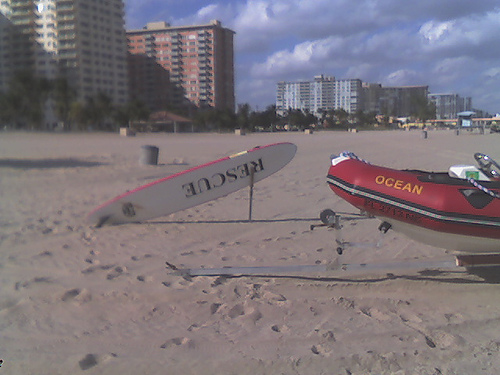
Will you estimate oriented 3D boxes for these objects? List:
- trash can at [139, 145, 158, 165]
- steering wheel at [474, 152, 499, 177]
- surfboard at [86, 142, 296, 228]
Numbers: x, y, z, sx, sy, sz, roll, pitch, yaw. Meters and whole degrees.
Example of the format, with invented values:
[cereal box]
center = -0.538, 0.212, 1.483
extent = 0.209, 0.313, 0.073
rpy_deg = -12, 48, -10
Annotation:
[trash can]
center = -3.306, -1.046, 20.665
extent = 0.513, 0.611, 0.609
rpy_deg = 9, -1, 27
[steering wheel]
center = 3.915, -0.388, 10.496
extent = 0.348, 0.303, 0.501
rpy_deg = 1, 12, 3
[surfboard]
center = -1.435, -0.031, 14.960
extent = 5.085, 1.086, 0.557
rpy_deg = -21, 18, -12
